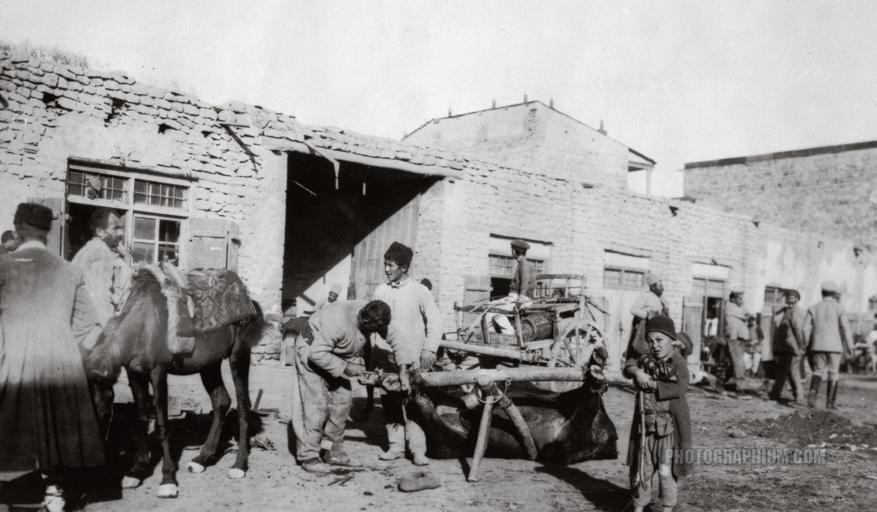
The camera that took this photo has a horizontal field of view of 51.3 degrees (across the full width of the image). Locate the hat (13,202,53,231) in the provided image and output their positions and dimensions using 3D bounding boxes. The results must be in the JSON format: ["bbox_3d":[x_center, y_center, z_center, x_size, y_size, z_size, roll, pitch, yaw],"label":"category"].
[{"bbox_3d":[-5.797,-0.567,13.177,0.421,0.296,0.464,5,-3,30],"label":"hat"}]

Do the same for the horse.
[{"bbox_3d":[-4.140,1.822,13.797,1.313,3.318,4.481,-2,0,33],"label":"horse"}]

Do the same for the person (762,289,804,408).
[{"bbox_3d":[7.118,1.861,18.768,0.701,2.331,1.173,-1,-9,19],"label":"person"}]

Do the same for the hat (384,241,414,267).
[{"bbox_3d":[-0.667,-0.070,14.761,0.439,0.298,0.420,16,5,-16],"label":"hat"}]

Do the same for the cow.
[{"bbox_3d":[0.842,2.514,14.966,4.725,1.905,1.640,-1,8,-10],"label":"cow"}]

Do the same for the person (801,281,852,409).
[{"bbox_3d":[7.641,1.728,17.960,0.855,2.495,0.946,-1,-9,21],"label":"person"}]

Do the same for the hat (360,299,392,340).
[{"bbox_3d":[-0.984,0.927,13.897,0.471,0.549,0.328,3,-8,-5],"label":"hat"}]
